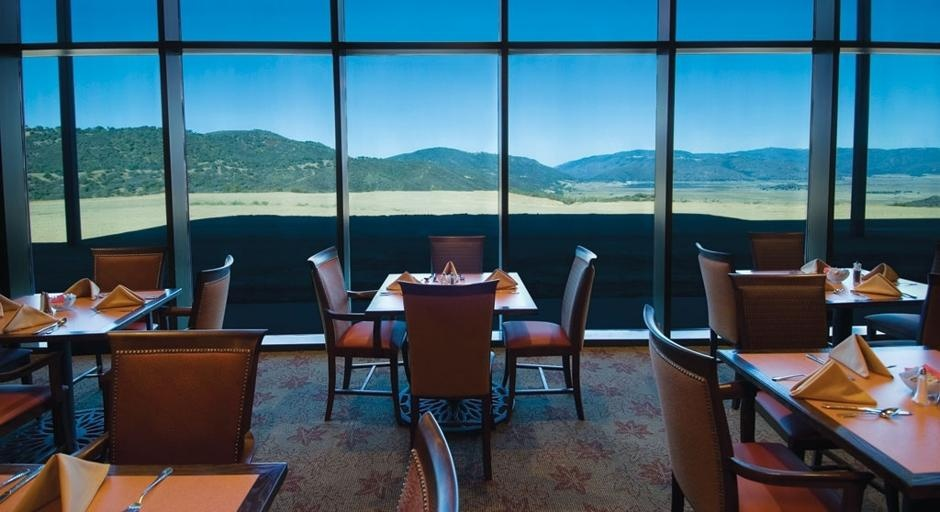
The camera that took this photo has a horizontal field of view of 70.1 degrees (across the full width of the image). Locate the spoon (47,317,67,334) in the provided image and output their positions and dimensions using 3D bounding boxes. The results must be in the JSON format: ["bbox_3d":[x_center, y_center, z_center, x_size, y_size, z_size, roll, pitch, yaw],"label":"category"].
[{"bbox_3d":[-3.839,0.639,6.255,0.059,0.050,0.172,11,23,-4],"label":"spoon"}]

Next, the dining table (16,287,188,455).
[{"bbox_3d":[-3.646,1.124,6.587,1.751,0.764,1.571,2,14,1],"label":"dining table"}]

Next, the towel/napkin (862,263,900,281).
[{"bbox_3d":[4.381,0.175,7.115,0.225,0.128,0.349,-1,-3,26],"label":"towel/napkin"}]

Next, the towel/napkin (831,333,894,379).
[{"bbox_3d":[3.266,0.809,5.649,0.326,0.286,0.568,1,16,-23],"label":"towel/napkin"}]

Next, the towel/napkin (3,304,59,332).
[{"bbox_3d":[-4.088,0.593,6.207,0.359,0.106,0.309,-1,7,2],"label":"towel/napkin"}]

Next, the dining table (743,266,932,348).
[{"bbox_3d":[3.873,0.445,6.708,1.307,0.673,1.207,-5,9,-25],"label":"dining table"}]

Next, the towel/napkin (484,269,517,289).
[{"bbox_3d":[0.352,0.251,7.084,0.259,0.078,0.228,0,21,-10],"label":"towel/napkin"}]

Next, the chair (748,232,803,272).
[{"bbox_3d":[3.551,-0.056,7.711,0.502,0.644,0.516,1,7,13],"label":"chair"}]

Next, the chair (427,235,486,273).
[{"bbox_3d":[-0.142,-0.030,7.973,0.539,0.768,0.508,1,2,1],"label":"chair"}]

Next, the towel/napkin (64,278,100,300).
[{"bbox_3d":[-3.941,0.337,6.821,0.224,0.104,0.282,8,10,38],"label":"towel/napkin"}]

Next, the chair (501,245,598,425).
[{"bbox_3d":[0.808,0.792,6.945,1.013,1.713,0.720,-4,9,1],"label":"chair"}]

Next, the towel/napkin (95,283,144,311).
[{"bbox_3d":[-3.452,0.418,6.600,0.355,0.130,0.312,-3,3,13],"label":"towel/napkin"}]
